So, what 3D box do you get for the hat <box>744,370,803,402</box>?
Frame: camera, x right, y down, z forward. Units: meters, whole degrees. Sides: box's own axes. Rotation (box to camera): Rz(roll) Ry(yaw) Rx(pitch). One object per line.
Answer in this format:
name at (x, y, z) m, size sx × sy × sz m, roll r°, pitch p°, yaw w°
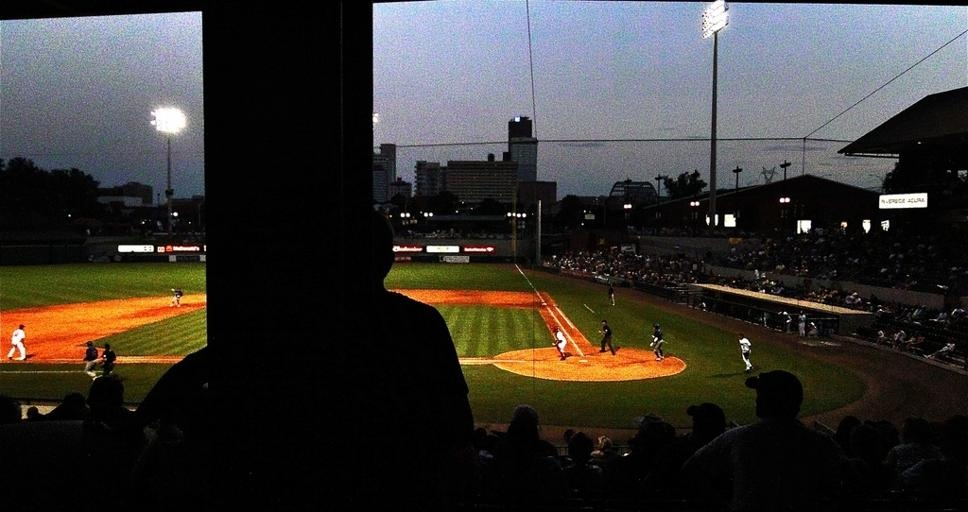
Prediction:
hat at (8.647, 3.833, 22.460) m, size 1.371 × 0.591 × 0.988 m, roll 17°, pitch 8°, yaw 28°
